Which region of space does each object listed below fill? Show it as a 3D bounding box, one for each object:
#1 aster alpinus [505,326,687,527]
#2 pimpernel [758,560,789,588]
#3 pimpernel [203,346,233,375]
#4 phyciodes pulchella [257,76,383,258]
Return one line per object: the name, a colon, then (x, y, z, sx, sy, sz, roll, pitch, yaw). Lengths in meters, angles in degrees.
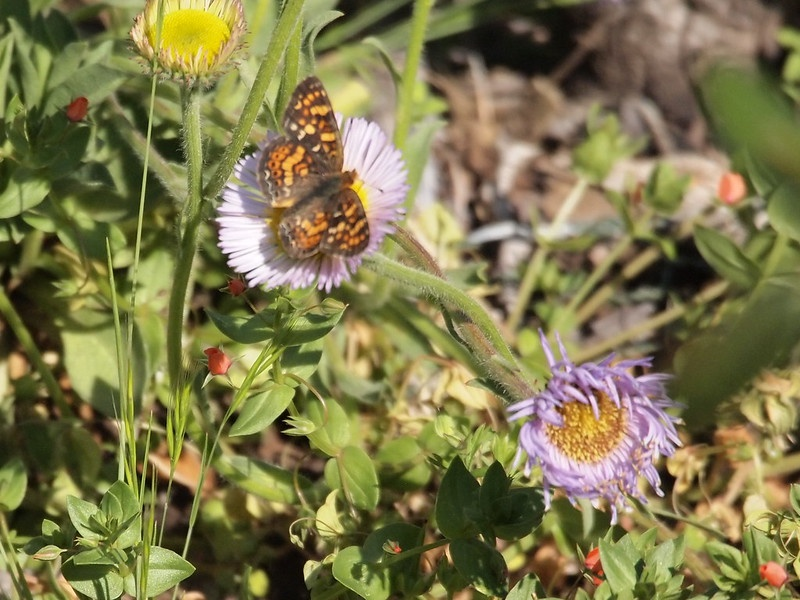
aster alpinus: (0.529, 0.480, 2.713, 0.490, 0.764, 0.406, 6, 37, 4)
pimpernel: (1.002, 0.739, 2.540, 0.076, 0.059, 0.033, 40, 18, -5)
pimpernel: (-0.507, 0.163, 2.616, 0.072, 0.072, 0.037, 39, 9, 15)
phyciodes pulchella: (-0.224, -0.306, 2.596, 0.267, 0.590, 0.172, -20, 46, -3)
